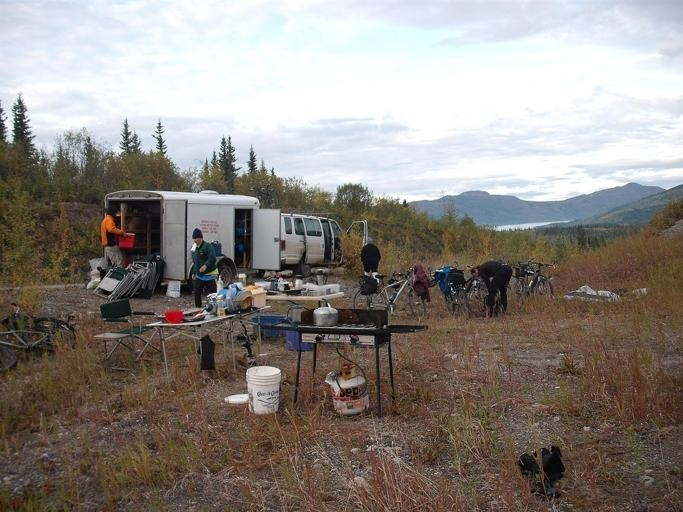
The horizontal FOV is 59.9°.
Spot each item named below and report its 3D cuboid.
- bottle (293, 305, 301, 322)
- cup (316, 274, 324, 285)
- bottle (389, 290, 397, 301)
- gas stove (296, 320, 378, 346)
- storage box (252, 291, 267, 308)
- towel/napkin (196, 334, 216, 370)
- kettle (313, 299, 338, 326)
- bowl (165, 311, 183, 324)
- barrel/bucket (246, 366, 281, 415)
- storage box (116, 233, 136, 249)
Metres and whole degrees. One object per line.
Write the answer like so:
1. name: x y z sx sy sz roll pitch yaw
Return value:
1. bottle: -0.578 0.764 7.715 0.098 0.164 0.239 -1 4 -5
2. cup: -0.388 0.448 10.755 0.136 0.186 0.144 -2 0 0
3. bottle: 1.141 0.868 13.034 0.157 0.189 0.448 0 4 7
4. gas stove: -0.055 0.993 7.404 1.007 0.249 0.374 0 4 17
5. storage box: -1.314 0.693 9.475 0.190 0.243 0.344 3 4 24
6. towel/napkin: -1.993 1.422 8.748 0.190 0.472 0.175 -2 4 -20
7. kettle: -0.207 0.744 7.541 0.234 0.291 0.249 0 -3 3
8. bowl: -2.406 0.874 8.510 0.186 0.127 0.180 2 2 0
9. barrel/bucket: -1.033 1.672 7.514 0.475 0.526 0.469 1 2 0
10. storage box: -5.452 -0.379 14.995 0.370 0.398 0.378 2 4 44
